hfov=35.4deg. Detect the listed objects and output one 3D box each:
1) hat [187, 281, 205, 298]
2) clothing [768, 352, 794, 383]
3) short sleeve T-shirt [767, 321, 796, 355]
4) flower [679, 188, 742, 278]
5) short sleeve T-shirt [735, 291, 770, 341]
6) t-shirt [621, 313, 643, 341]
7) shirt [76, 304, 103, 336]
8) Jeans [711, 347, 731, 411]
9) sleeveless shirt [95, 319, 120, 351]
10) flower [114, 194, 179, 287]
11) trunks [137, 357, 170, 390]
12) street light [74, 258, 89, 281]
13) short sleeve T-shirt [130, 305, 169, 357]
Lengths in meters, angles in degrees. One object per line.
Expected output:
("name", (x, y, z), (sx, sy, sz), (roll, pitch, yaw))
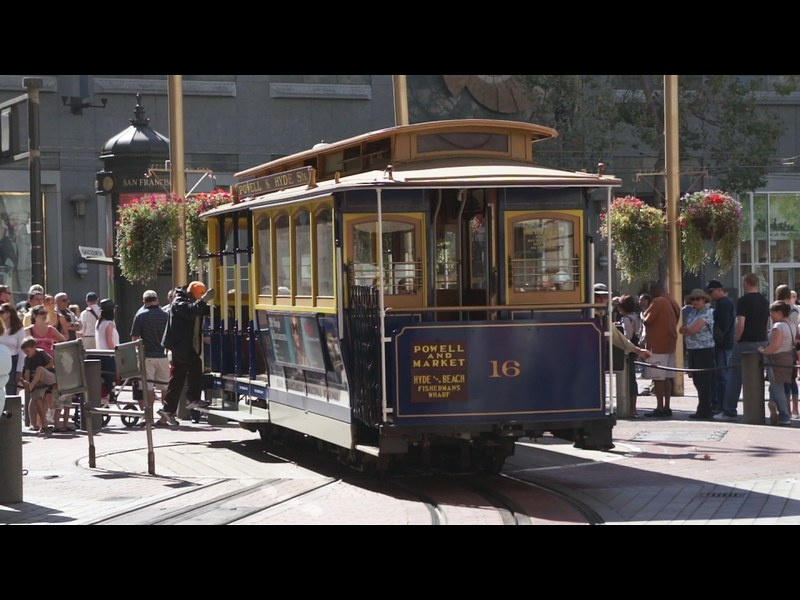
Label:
("hat", (-3.143, -0.156, 19.354), (0.262, 0.275, 0.201), (-4, 13, -1))
("clothing", (5.801, 1.025, 19.151), (0.406, 0.566, 0.320), (1, -5, -9))
("short sleeve T-shirt", (5.818, 0.556, 19.229), (0.388, 0.587, 0.701), (5, 6, 41))
("flower", (5.705, -1.207, 23.023), (1.354, 1.691, 1.436), (3, -2, 14))
("short sleeve T-shirt", (5.546, 0.287, 19.801), (0.703, 0.898, 0.467), (0, 4, -14))
("t-shirt", (3.840, 0.464, 20.886), (0.212, 0.341, 0.428), (5, 4, 30))
("shirt", (-5.548, 0.394, 22.528), (0.213, 0.498, 0.541), (6, 4, 31))
("Jeans", (5.278, 1.280, 20.693), (0.258, 1.178, 0.330), (6, 1, 14))
("sleeveless shirt", (-5.103, 0.621, 21.826), (0.304, 0.583, 0.443), (-5, 8, -38))
("flower", (-4.545, -1.009, 22.447), (1.049, 1.603, 0.659), (0, 22, -14))
("trunks", (-4.005, 1.233, 20.816), (0.574, 0.803, 0.423), (-1, 7, -16))
("street light", (-8.407, -0.816, 33.225), (0.408, 0.521, 0.411), (3, -8, -21))
("short sleeve T-shirt", (-3.968, 0.529, 20.066), (0.699, 0.869, 0.475), (-3, 14, -21))
